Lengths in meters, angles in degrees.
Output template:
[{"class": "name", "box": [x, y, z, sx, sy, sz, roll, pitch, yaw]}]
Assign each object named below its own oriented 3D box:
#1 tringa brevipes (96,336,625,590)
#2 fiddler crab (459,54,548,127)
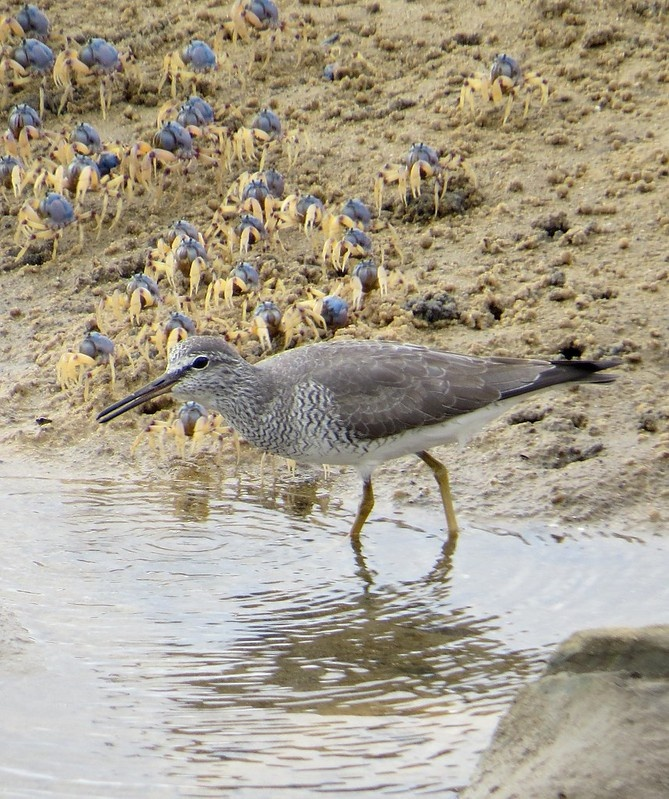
[{"class": "tringa brevipes", "box": [0.131, 0.196, 5.920, 2.237, 1.049, 0.724, 7, 23, 10]}, {"class": "fiddler crab", "box": [1.436, -2.713, 9.518, 0.929, 0.727, 0.696, 5, 35, 12]}]
